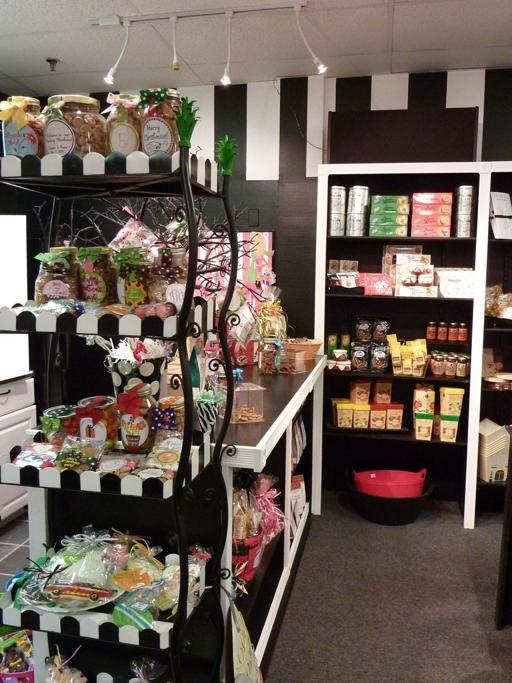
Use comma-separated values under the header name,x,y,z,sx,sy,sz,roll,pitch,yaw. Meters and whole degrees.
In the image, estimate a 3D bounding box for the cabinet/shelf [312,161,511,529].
name,x,y,z,sx,sy,sz,roll,pitch,yaw
cabinet/shelf,0.904,0.018,3.337,1.091,2.121,0.380,0,5,1

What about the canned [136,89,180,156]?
name,x,y,z,sx,sy,sz,roll,pitch,yaw
canned,-0.203,-0.458,1.157,0.087,0.158,0.122,-1,5,-9

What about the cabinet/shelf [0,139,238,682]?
name,x,y,z,sx,sy,sz,roll,pitch,yaw
cabinet/shelf,-0.355,0.222,1.469,0.601,1.461,0.763,0,5,-3

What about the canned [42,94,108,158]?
name,x,y,z,sx,sy,sz,roll,pitch,yaw
canned,-0.390,-0.463,1.272,0.145,0.139,0.149,-1,4,-5

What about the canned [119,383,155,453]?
name,x,y,z,sx,sy,sz,roll,pitch,yaw
canned,-0.291,0.188,1.355,0.089,0.168,0.054,-1,5,-12

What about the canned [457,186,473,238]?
name,x,y,z,sx,sy,sz,roll,pitch,yaw
canned,1.187,-0.738,3.207,0.094,0.286,0.057,2,6,17

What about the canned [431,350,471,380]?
name,x,y,z,sx,sy,sz,roll,pitch,yaw
canned,1.144,0.142,3.339,0.166,0.096,0.166,2,3,-3

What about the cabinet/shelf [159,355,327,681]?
name,x,y,z,sx,sy,sz,roll,pitch,yaw
cabinet/shelf,-0.038,0.587,1.807,0.340,0.572,1.140,1,9,11

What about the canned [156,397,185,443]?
name,x,y,z,sx,sy,sz,roll,pitch,yaw
canned,-0.212,0.197,1.414,0.097,0.134,0.090,0,7,-7

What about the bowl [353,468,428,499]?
name,x,y,z,sx,sy,sz,roll,pitch,yaw
bowl,0.790,0.851,3.332,0.261,0.091,0.276,1,-5,0
